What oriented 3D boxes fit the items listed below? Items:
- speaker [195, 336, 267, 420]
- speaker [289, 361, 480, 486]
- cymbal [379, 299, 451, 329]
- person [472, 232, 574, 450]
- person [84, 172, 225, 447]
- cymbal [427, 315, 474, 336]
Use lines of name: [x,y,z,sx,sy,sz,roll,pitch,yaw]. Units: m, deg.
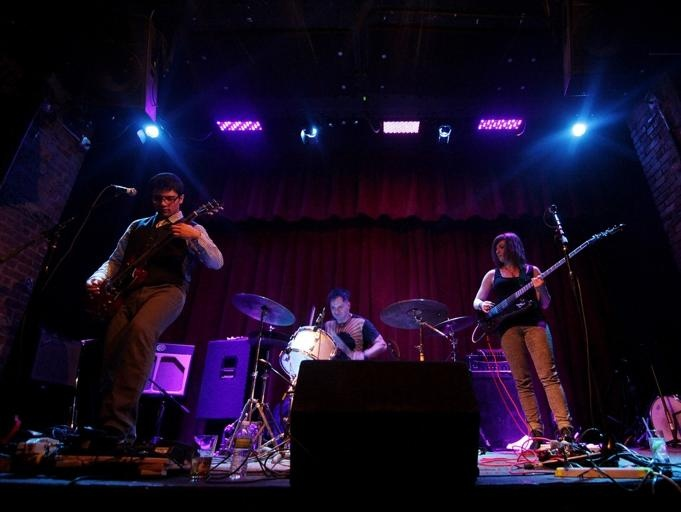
speaker: [-1.197,1.374,5.244,0.499,1.054,0.730,0,-27,5]
speaker: [0.259,0.904,3.154,0.957,0.732,0.686,0,2,3]
cymbal: [0.774,0.631,5.015,0.656,0.186,0.602,-17,-33,28]
person: [1.668,0.698,4.394,0.666,1.941,0.410,-24,-36,39]
person: [-1.563,0.332,3.822,0.951,2.225,0.456,-5,-28,11]
cymbal: [1.207,0.747,5.054,0.300,0.154,0.314,-20,-40,15]
